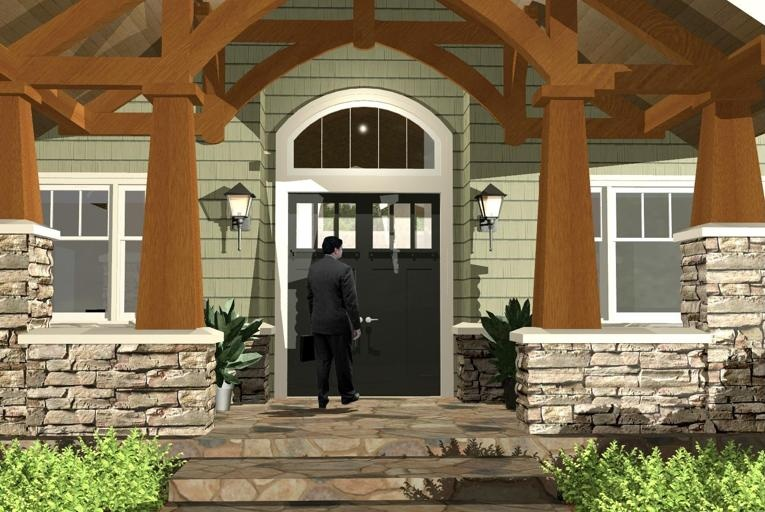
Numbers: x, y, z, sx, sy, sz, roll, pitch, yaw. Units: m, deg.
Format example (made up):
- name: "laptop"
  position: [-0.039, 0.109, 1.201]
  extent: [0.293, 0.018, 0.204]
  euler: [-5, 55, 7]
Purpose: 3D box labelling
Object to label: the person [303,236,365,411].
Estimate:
- name: "person"
  position: [-0.635, 0.860, 13.721]
  extent: [0.746, 2.245, 0.431]
  euler: [-2, -6, 12]
